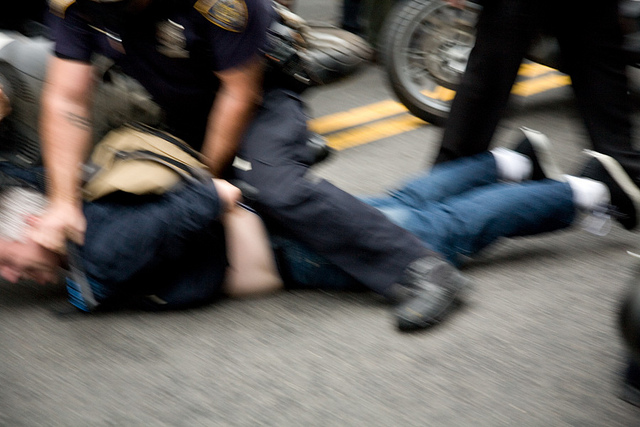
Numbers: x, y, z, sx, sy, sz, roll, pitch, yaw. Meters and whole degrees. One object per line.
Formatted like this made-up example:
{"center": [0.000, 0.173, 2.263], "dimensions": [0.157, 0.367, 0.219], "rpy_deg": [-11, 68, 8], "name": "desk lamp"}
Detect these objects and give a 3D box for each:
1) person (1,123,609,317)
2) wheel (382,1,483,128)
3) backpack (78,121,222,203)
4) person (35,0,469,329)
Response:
{"center": [0.276, 0.049, 2.554], "dimensions": [3.161, 0.617, 0.773], "rpy_deg": [-4, 33, -8], "name": "person"}
{"center": [0.754, -1.029, 3.648], "dimensions": [0.665, 0.757, 0.417], "rpy_deg": [34, 55, 29], "name": "wheel"}
{"center": [-0.661, -0.201, 2.066], "dimensions": [0.503, 0.129, 0.336], "rpy_deg": [0, 10, -24], "name": "backpack"}
{"center": [-0.393, -0.168, 2.047], "dimensions": [1.095, 1.068, 1.387], "rpy_deg": [-27, 49, -25], "name": "person"}
